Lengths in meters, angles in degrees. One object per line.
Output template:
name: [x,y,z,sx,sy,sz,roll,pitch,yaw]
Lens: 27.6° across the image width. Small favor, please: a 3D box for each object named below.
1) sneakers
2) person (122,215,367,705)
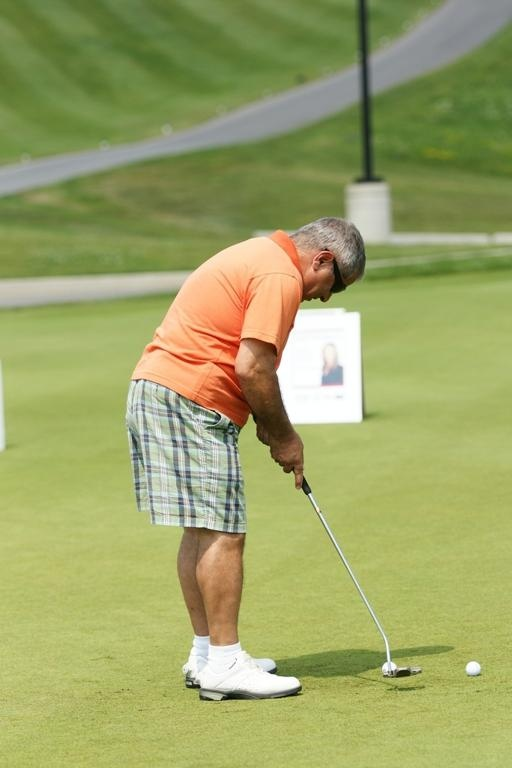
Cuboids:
sneakers: [-0.027,0.710,2.487,0.154,0.055,0.170,-1,-2,-9]
person: [-0.009,0.188,2.551,0.589,1.135,0.480,-5,15,-6]
